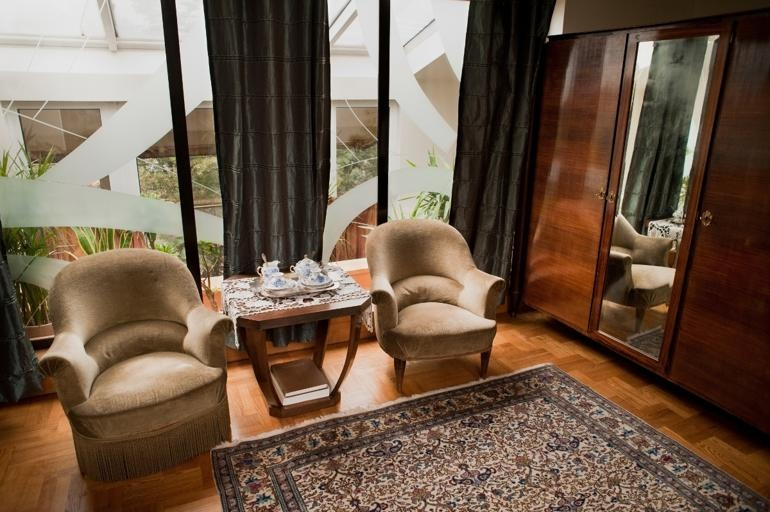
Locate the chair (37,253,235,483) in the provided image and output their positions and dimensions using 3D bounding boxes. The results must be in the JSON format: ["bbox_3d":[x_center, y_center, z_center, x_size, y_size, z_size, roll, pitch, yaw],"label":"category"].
[{"bbox_3d":[-1.457,0.621,3.200,1.011,1.229,0.732,-9,19,-18],"label":"chair"}]

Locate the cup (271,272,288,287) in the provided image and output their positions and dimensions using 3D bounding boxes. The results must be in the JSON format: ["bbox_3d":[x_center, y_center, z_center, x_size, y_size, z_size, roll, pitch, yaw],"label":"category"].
[{"bbox_3d":[-0.711,0.155,3.468,0.084,0.059,0.088,3,20,-1],"label":"cup"}]

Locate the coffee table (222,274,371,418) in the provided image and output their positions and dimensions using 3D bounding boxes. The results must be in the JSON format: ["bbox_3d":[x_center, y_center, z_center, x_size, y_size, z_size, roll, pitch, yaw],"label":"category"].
[{"bbox_3d":[-0.655,0.643,3.832,1.054,0.839,0.922,-9,25,-20],"label":"coffee table"}]

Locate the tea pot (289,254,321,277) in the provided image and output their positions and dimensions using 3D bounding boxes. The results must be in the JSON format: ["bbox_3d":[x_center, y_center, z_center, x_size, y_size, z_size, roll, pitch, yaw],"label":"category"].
[{"bbox_3d":[-0.568,0.071,3.640,0.185,0.124,0.139,6,14,29],"label":"tea pot"}]

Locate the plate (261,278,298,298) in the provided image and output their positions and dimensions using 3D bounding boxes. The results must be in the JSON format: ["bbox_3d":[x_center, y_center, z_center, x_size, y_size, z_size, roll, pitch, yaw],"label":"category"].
[{"bbox_3d":[-0.695,0.224,3.440,0.171,0.053,0.165,3,17,8],"label":"plate"}]
